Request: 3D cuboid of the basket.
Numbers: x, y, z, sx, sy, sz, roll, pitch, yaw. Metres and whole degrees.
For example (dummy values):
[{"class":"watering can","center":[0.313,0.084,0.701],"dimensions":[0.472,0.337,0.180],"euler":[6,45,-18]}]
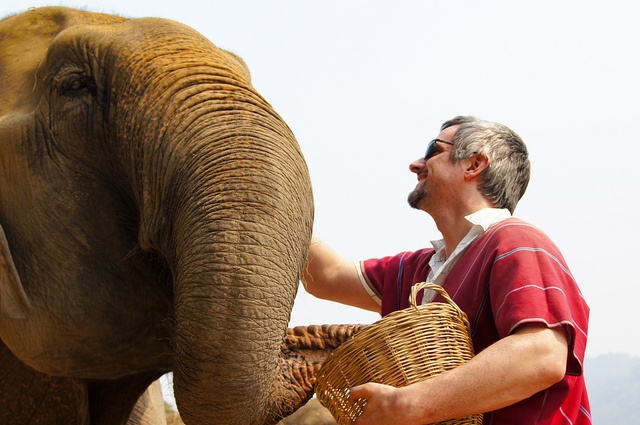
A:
[{"class":"basket","center":[0.256,0.400,2.468],"dimensions":[0.498,0.274,0.417],"euler":[-5,-40,-36]}]
